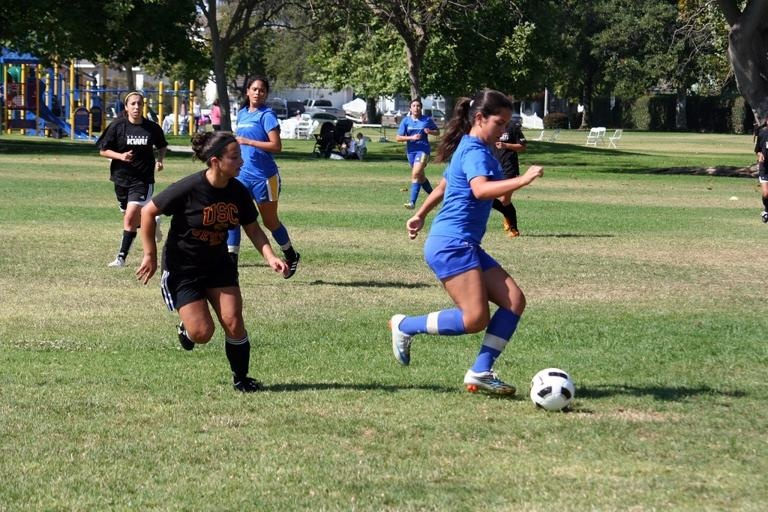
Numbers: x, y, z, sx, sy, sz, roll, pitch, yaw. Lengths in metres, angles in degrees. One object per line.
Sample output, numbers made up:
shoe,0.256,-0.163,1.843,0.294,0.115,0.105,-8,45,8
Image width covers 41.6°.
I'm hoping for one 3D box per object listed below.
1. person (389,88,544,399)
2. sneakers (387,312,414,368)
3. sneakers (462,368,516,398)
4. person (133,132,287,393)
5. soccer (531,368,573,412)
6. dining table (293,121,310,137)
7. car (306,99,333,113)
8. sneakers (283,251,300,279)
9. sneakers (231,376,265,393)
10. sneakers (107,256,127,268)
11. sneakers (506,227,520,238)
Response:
person,0.828,-0.112,9.628,1.367,2.876,0.727,16,21,42
sneakers,0.125,0.844,10.133,0.259,0.532,0.190,-3,10,35
sneakers,0.998,1.231,9.684,0.588,0.244,0.201,3,7,-11
person,-1.681,0.067,9.578,1.255,2.443,0.691,-1,16,-7
soccer,1.576,1.249,9.489,0.405,0.368,0.387,1,1,0
dining table,-4.797,-7.079,57.977,1.051,0.438,1.367,4,38,2
car,-5.461,-12.261,83.909,1.621,1.099,2.976,-3,11,-25
sneakers,-1.230,0.121,13.083,0.135,0.376,0.167,1,-21,38
sneakers,-1.331,1.250,9.718,0.322,0.124,0.123,1,7,-2
sneakers,-3.919,0.053,14.606,0.238,0.167,0.327,-3,16,-15
sneakers,2.297,-0.381,17.922,0.220,0.129,0.212,12,24,-9
